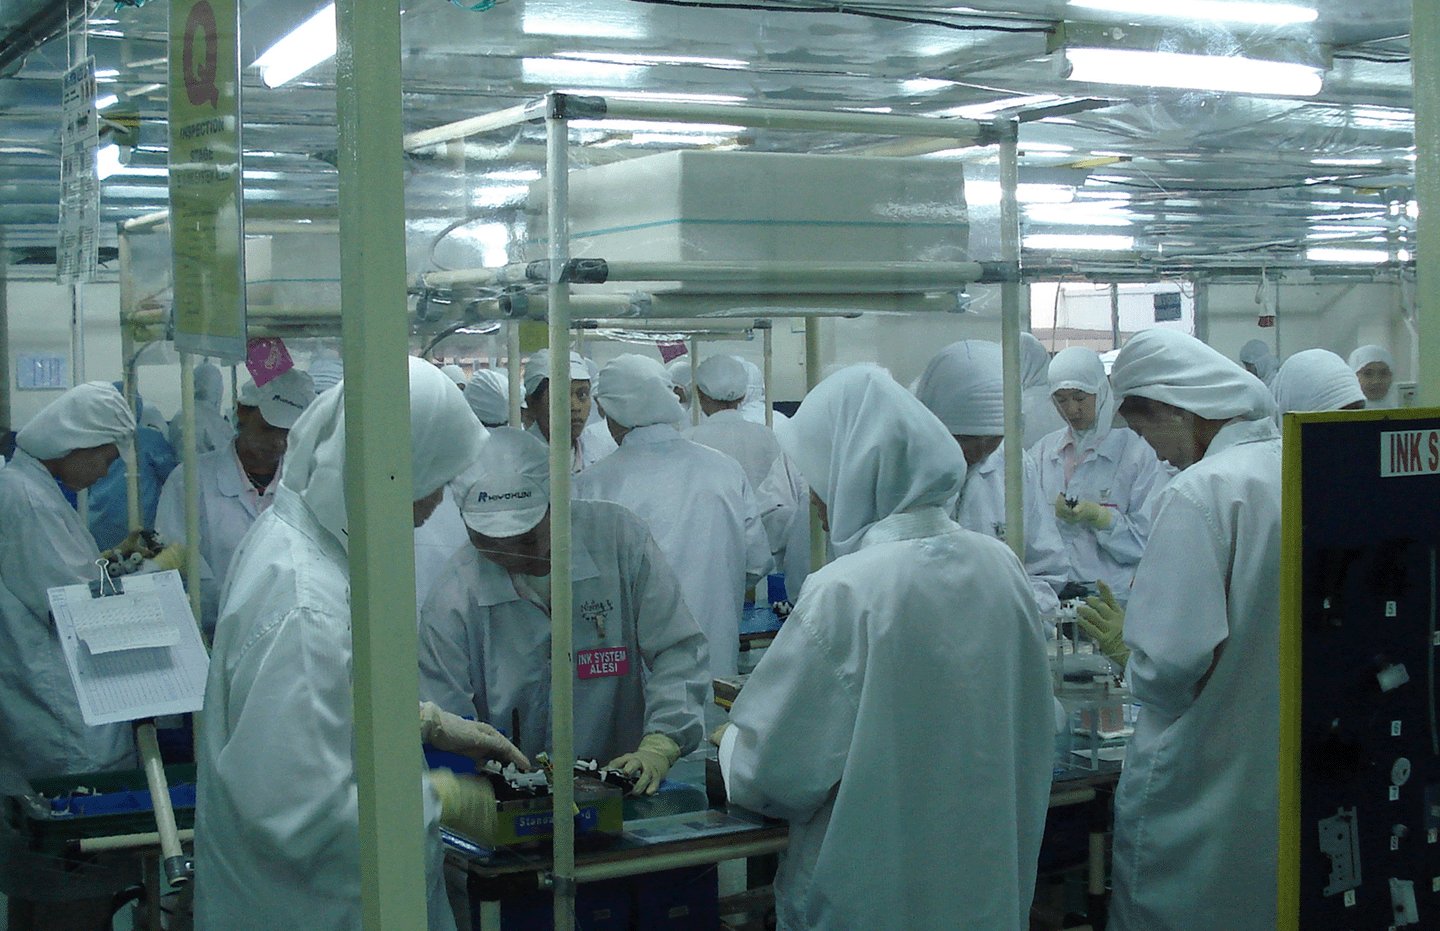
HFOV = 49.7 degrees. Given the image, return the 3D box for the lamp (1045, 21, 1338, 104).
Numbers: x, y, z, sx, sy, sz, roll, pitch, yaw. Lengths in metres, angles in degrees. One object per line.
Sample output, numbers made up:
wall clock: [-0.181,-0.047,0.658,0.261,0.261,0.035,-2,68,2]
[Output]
lamp: [1.914,-1.622,6.275,0.225,0.324,1.326,-30,29,-30]

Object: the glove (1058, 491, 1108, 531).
glove: [1.664,0.187,7.074,0.201,0.085,0.153,14,-15,22]

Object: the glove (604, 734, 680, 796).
glove: [-0.252,0.964,4.987,0.148,0.178,0.336,-1,3,23]

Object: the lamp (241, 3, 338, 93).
lamp: [-1.577,-1.538,5.793,0.241,0.071,1.048,-3,3,-23]

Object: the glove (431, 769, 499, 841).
glove: [-0.742,0.994,4.636,0.208,0.174,0.168,-1,4,-23]
